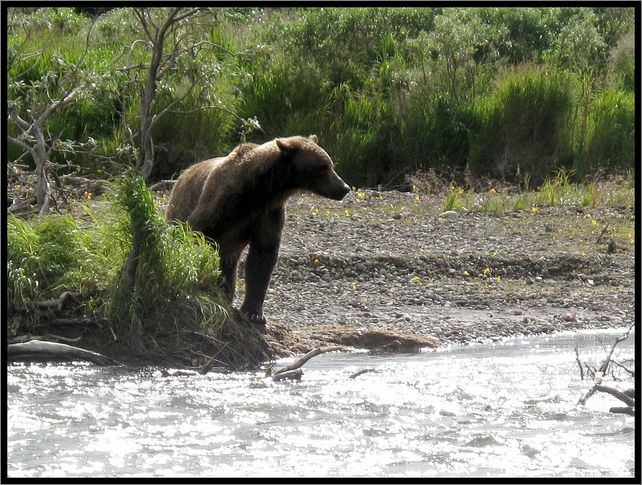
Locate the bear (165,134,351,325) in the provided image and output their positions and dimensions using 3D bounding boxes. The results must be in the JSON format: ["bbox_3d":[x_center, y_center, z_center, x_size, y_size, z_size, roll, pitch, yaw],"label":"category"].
[{"bbox_3d":[-1.071,-0.098,13.266,1.347,2.263,2.803,13,-14,-42],"label":"bear"}]
